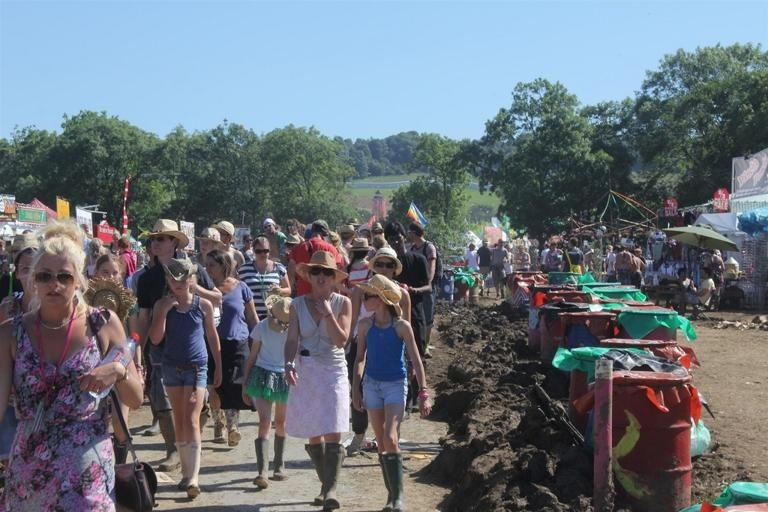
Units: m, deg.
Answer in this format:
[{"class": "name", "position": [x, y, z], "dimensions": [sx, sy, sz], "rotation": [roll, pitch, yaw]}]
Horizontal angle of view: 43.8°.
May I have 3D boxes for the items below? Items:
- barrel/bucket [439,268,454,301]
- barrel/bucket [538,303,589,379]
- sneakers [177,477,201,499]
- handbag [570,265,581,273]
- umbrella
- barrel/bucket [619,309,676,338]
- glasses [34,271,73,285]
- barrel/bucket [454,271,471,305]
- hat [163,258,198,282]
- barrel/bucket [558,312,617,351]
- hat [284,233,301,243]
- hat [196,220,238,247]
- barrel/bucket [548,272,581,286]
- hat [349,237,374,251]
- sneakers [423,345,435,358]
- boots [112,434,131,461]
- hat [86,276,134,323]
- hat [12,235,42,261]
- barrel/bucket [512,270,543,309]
[{"class": "barrel/bucket", "position": [2.031, 0.909, 30.773], "dimensions": [0.491, 1.042, 1.567], "rotation": [-2, -5, 4]}, {"class": "barrel/bucket", "position": [3.119, 1.319, 16.208], "dimensions": [0.788, 0.957, 0.831], "rotation": [1, -5, 0]}, {"class": "sneakers", "position": [-2.370, 2.787, 11.516], "dimensions": [0.280, 0.244, 0.248], "rotation": [-2, -4, 0]}, {"class": "handbag", "position": [5.293, 0.348, 26.282], "dimensions": [0.252, 0.227, 0.267], "rotation": [4, 3, 31]}, {"class": "umbrella", "position": [9.085, -0.309, 27.214], "dimensions": [1.623, 1.295, 5.165], "rotation": [-3, -5, 18]}, {"class": "barrel/bucket", "position": [3.780, 0.941, 13.778], "dimensions": [0.470, 0.299, 0.506], "rotation": [0, -6, 0]}, {"class": "glasses", "position": [-3.132, 0.206, 9.041], "dimensions": [0.345, 0.120, 0.042], "rotation": [-2, -3, -6]}, {"class": "barrel/bucket", "position": [2.514, 1.028, 30.703], "dimensions": [0.683, 1.221, 0.614], "rotation": [6, 11, 22]}, {"class": "hat", "position": [-2.495, 0.164, 11.705], "dimensions": [0.386, 0.288, 0.276], "rotation": [-1, -4, -16]}, {"class": "barrel/bucket", "position": [3.079, 1.086, 14.498], "dimensions": [0.595, 0.676, 0.535], "rotation": [0, -5, 6]}, {"class": "hat", "position": [-1.692, -0.315, 17.693], "dimensions": [0.329, 0.141, 0.300], "rotation": [14, 18, 40]}, {"class": "hat", "position": [-2.555, -0.381, 15.126], "dimensions": [0.355, 0.187, 0.451], "rotation": [14, -12, 2]}, {"class": "barrel/bucket", "position": [4.023, 0.494, 21.133], "dimensions": [0.470, 0.207, 0.389], "rotation": [4, -4, -9]}, {"class": "hat", "position": [-0.394, -0.197, 15.773], "dimensions": [0.329, 0.195, 0.485], "rotation": [1, -2, -5]}, {"class": "sneakers", "position": [0.891, 1.870, 18.901], "dimensions": [0.119, 0.266, 0.380], "rotation": [0, -24, -4]}, {"class": "boots", "position": [-3.269, 2.369, 11.798], "dimensions": [0.182, 0.334, 0.510], "rotation": [-1, -5, -17]}, {"class": "hat", "position": [-3.228, 0.496, 11.131], "dimensions": [0.595, 0.525, 0.318], "rotation": [-4, -4, 25]}, {"class": "hat", "position": [-3.868, -0.086, 10.327], "dimensions": [0.242, 0.346, 0.332], "rotation": [4, -7, -26]}, {"class": "barrel/bucket", "position": [3.626, 0.836, 24.256], "dimensions": [0.673, 0.608, 1.169], "rotation": [1, 4, 4]}]
